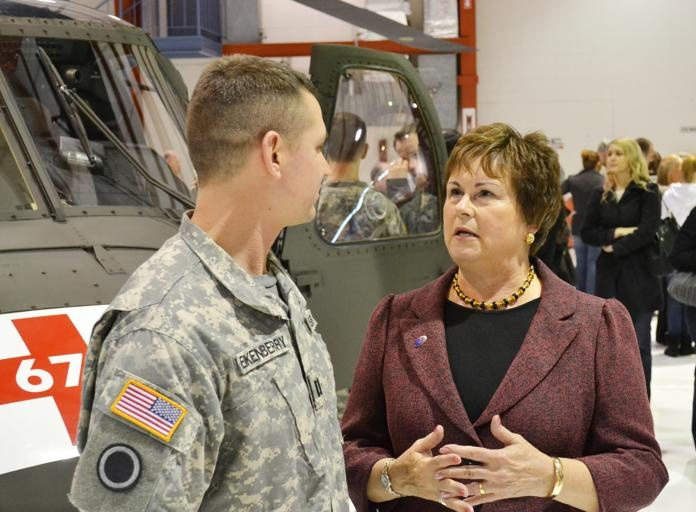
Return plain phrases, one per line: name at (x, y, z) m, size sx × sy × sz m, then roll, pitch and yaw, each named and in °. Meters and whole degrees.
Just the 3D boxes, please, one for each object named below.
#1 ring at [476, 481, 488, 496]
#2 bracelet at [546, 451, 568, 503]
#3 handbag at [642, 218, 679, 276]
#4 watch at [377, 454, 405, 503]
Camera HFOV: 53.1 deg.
ring at (0.365, 0.636, 1.914) m, size 0.018 × 0.032 × 0.008 m, roll -16°, pitch -8°, yaw 29°
bracelet at (0.577, 0.611, 1.936) m, size 0.031 × 0.133 × 0.105 m, roll 0°, pitch 21°, yaw 8°
handbag at (2.039, -0.050, 4.579) m, size 0.118 × 0.344 × 0.348 m, roll 2°, pitch 3°, yaw 8°
watch at (0.115, 0.643, 2.013) m, size 0.039 × 0.100 × 0.093 m, roll -11°, pitch -4°, yaw -16°
